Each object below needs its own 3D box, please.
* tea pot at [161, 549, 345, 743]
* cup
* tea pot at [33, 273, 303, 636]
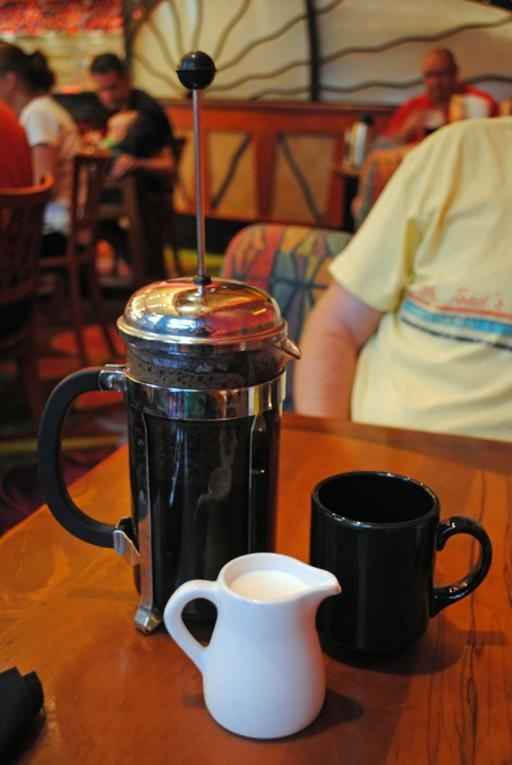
[{"bbox_3d":[0.000,0.136,0.362,0.082,0.082,0.052,-7,17,-22],"label":"tea pot"},{"bbox_3d":[0.072,0.111,0.450,0.133,0.090,0.080,-1,12,-7],"label":"cup"},{"bbox_3d":[-0.056,0.044,0.430,0.165,0.218,0.079,0,16,0],"label":"tea pot"}]
